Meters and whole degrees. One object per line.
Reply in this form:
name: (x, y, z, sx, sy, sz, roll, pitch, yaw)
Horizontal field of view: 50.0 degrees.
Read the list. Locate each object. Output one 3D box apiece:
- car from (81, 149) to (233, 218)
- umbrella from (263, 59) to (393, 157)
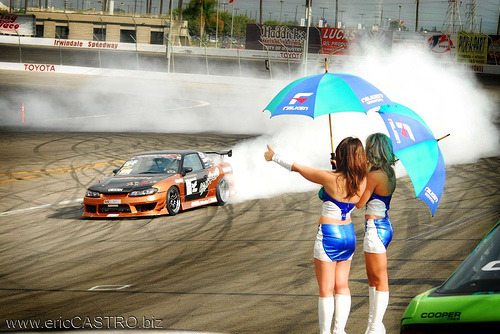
car: (-1.876, 0.325, 12.318, 1.580, 0.946, 2.895, -2, -1, 32)
umbrella: (1.030, -0.690, 6.954, 1.862, 1.026, 1.752, -1, -4, -25)
